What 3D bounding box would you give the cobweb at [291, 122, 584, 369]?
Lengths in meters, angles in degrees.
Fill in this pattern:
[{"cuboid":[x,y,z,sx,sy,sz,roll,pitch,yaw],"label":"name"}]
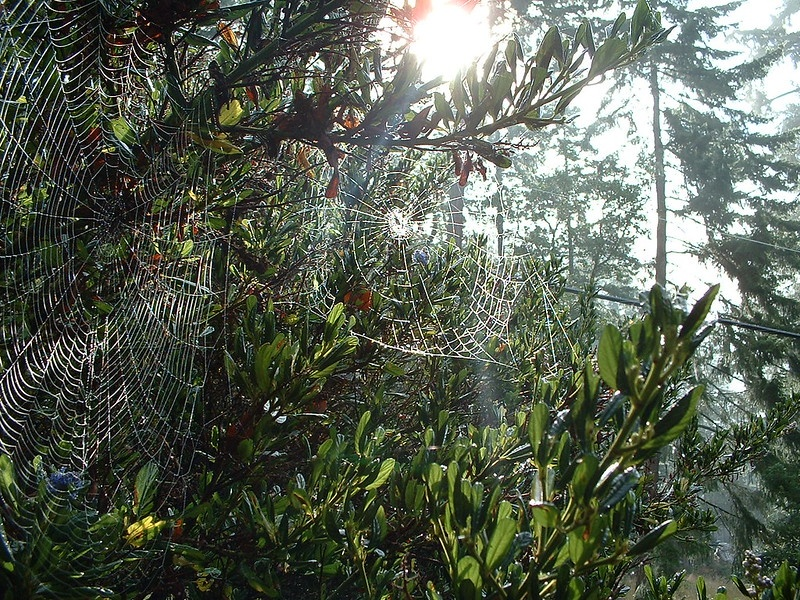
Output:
[{"cuboid":[0.487,-0.124,4.850,1.541,1.351,0.726,16,-19,-29],"label":"cobweb"}]
